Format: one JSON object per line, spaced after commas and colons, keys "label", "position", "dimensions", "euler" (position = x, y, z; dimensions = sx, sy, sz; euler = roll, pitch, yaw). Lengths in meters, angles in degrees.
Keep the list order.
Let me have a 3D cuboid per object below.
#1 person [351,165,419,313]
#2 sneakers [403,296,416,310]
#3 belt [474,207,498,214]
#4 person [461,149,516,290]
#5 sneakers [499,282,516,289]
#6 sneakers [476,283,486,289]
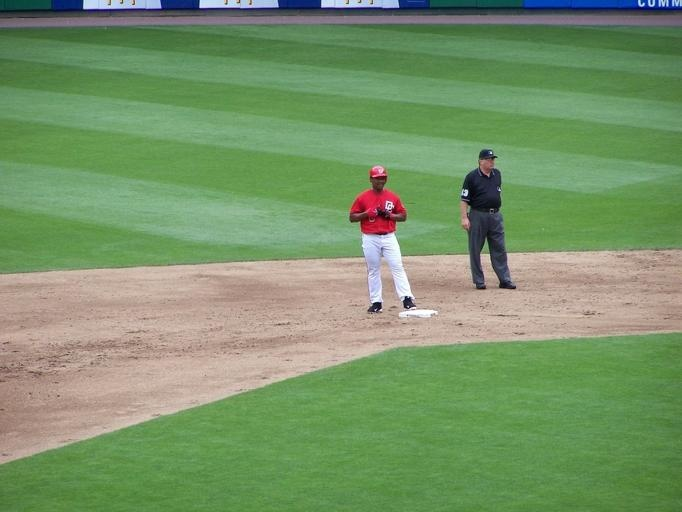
{"label": "person", "position": [0.584, -0.222, 16.520], "dimensions": [0.835, 2.161, 0.571], "euler": [-4, 12, -1]}
{"label": "sneakers", "position": [1.001, 0.682, 16.577], "dimensions": [0.180, 0.211, 0.258], "euler": [-2, 10, 3]}
{"label": "belt", "position": [2.349, -0.732, 18.055], "dimensions": [0.416, 0.095, 0.156], "euler": [-3, 9, -8]}
{"label": "person", "position": [2.342, -0.595, 18.023], "dimensions": [0.820, 2.214, 0.790], "euler": [-3, 12, 5]}
{"label": "sneakers", "position": [2.653, 0.465, 17.928], "dimensions": [0.262, 0.114, 0.151], "euler": [-1, 10, 9]}
{"label": "sneakers", "position": [2.235, 0.482, 17.981], "dimensions": [0.149, 0.089, 0.113], "euler": [-1, 10, 5]}
